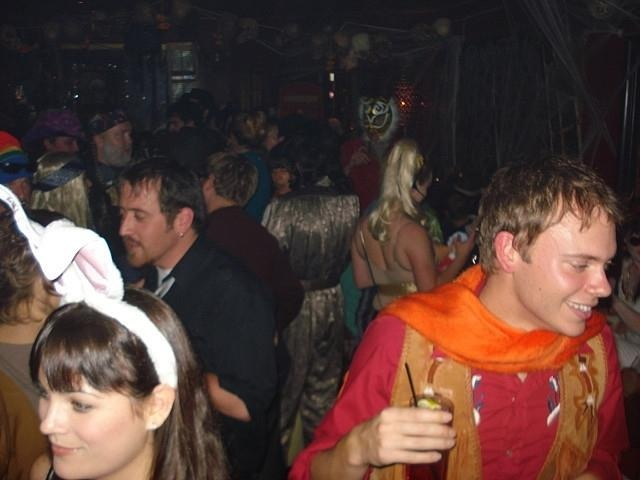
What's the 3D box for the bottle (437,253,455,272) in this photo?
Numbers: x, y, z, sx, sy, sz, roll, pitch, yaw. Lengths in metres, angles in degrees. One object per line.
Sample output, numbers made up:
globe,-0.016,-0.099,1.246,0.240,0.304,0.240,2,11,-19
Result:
bottle,0.951,0.162,4.637,0.088,0.120,0.110,6,-22,40
